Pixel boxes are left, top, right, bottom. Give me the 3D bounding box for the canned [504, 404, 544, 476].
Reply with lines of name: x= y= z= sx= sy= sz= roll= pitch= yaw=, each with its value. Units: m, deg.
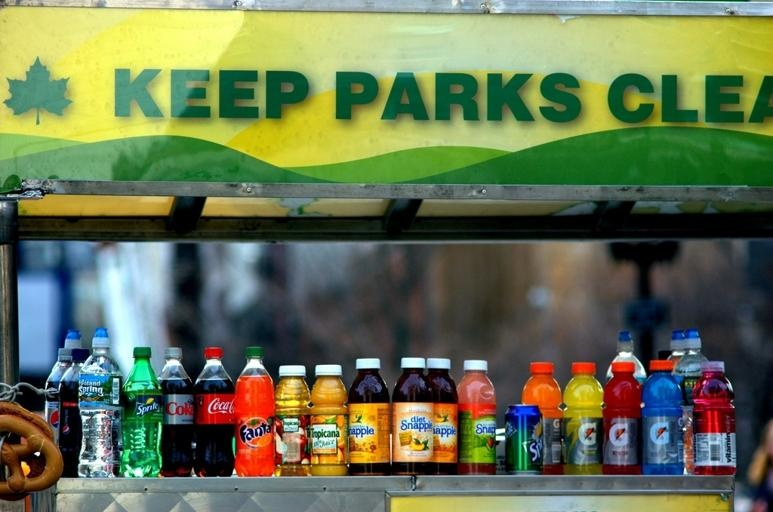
canned: x=0.476 y=0.641 z=7.145 sx=0.131 sy=0.235 sz=0.069 roll=-1 pitch=-8 yaw=3
